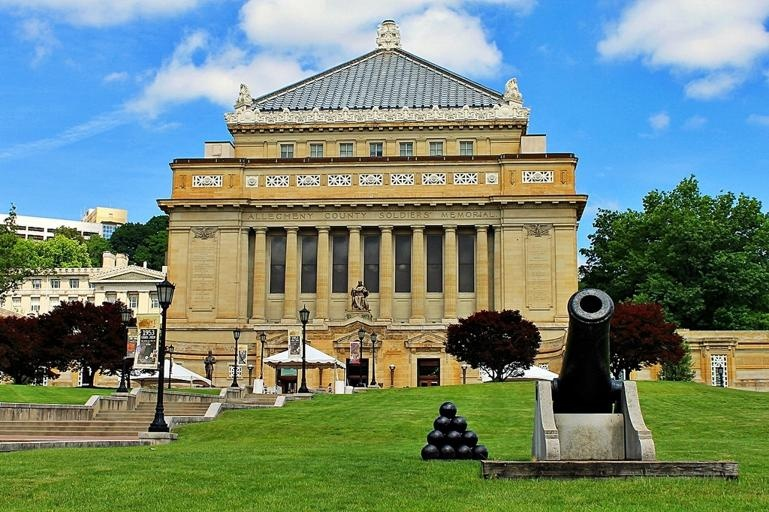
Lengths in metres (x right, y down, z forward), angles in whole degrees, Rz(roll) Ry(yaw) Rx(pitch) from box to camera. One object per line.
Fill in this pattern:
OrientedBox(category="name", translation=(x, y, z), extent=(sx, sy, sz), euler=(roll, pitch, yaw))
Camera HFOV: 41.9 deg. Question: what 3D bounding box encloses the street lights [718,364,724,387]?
OrientedBox(category="street lights", translation=(26.538, 9.495, 79.224), extent=(0.609, 1.545, 0.407), euler=(-9, -13, 44))
